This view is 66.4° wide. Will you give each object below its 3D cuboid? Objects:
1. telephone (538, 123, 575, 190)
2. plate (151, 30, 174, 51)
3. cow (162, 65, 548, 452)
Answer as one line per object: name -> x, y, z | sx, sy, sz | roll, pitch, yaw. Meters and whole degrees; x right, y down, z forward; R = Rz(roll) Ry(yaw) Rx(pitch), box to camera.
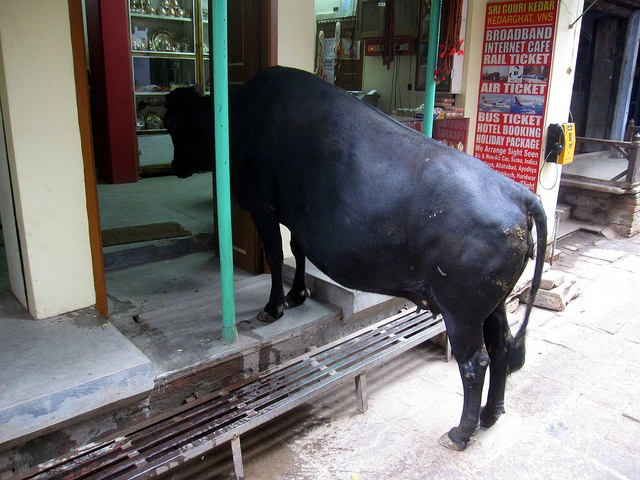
telephone -> 2.480, -0.877, 5.105 | 0.391, 0.642, 0.201 | -17, 21, -41
plate -> -2.378, -2.988, 7.384 | 0.349, 0.287, 0.294 | -9, 20, -22
cow -> 0.288, -0.406, 3.916 | 2.615, 2.755, 1.898 | 23, 14, -3
